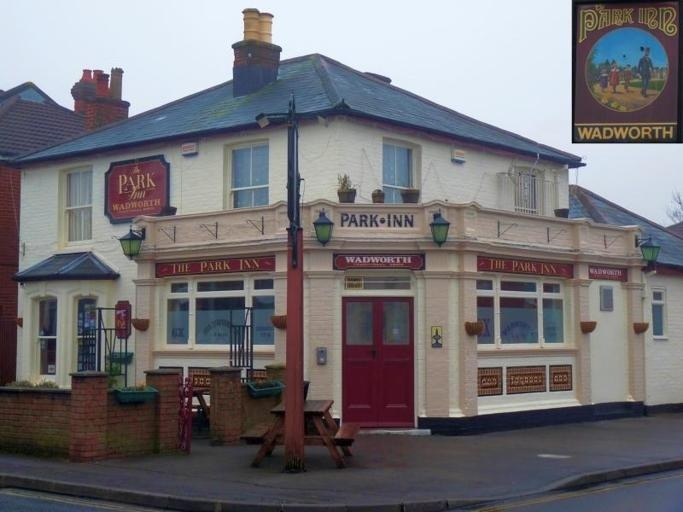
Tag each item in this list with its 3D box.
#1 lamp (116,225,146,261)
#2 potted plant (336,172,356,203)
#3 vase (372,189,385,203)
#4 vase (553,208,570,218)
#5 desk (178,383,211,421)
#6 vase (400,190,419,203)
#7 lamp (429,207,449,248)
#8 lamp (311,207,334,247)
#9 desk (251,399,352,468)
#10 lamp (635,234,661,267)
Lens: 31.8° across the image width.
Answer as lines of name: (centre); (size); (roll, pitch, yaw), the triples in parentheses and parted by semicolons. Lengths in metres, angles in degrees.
lamp: (-5.425, -0.398, 31.026); (0.522, 1.000, 0.562); (-3, -1, 36)
potted plant: (0.138, -1.709, 29.600); (0.467, 0.940, 1.116); (-1, -8, 0)
vase: (0.927, -1.531, 29.831); (0.300, 0.391, 0.303); (-2, 7, -4)
vase: (6.157, -1.242, 33.549); (0.321, 0.240, 0.327); (1, -11, -1)
desk: (-3.393, 3.369, 28.065); (0.529, 0.842, 3.843); (-1, -8, -4)
vase: (1.719, -1.529, 29.988); (0.351, 0.244, 0.359); (-1, -6, 2)
lamp: (2.328, -0.701, 28.545); (0.428, 0.858, 0.518); (-2, -8, 4)
lamp: (-0.429, -0.724, 28.340); (0.555, 0.949, 0.580); (-4, -11, 10)
desk: (-0.986, 3.411, 25.189); (1.845, 0.991, 2.090); (4, -19, 23)
lamp: (8.485, -0.142, 32.466); (0.606, 0.847, 0.579); (9, -1, 33)
